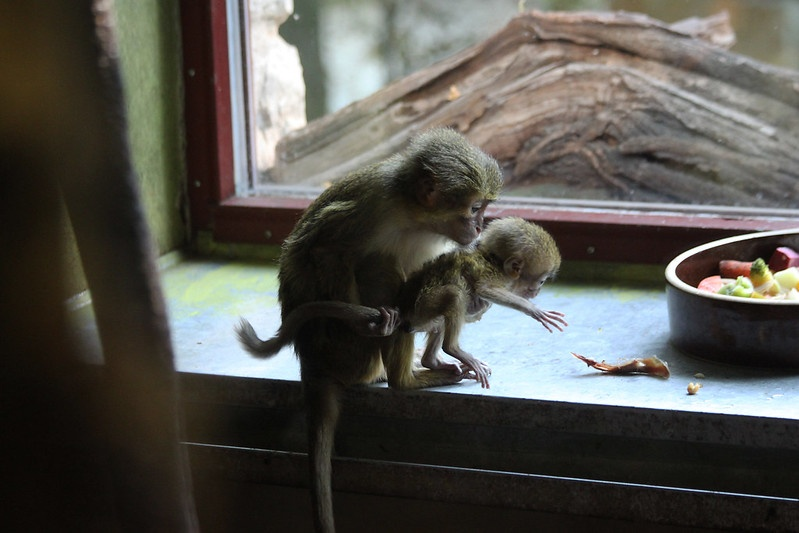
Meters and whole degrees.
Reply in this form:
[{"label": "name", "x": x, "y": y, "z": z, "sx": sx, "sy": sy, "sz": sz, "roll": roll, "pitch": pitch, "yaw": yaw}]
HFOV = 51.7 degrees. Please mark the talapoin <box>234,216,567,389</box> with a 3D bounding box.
[{"label": "talapoin", "x": 0.003, "y": 0.066, "z": 1.486, "sx": 0.627, "sy": 0.295, "sz": 0.198, "roll": -1, "pitch": 11, "yaw": -28}]
